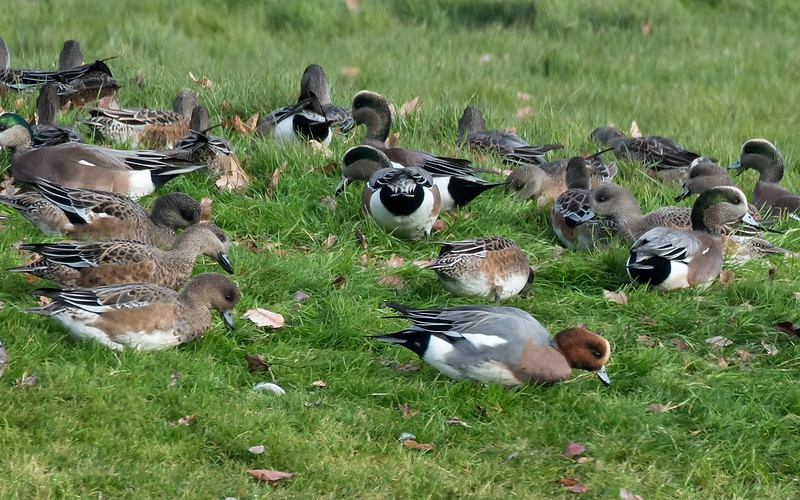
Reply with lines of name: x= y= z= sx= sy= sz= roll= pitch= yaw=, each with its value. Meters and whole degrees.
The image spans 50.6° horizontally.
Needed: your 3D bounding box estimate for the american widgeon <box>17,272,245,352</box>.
american widgeon: x=-2.273 y=0.536 z=7.452 sx=1.879 sy=0.808 sz=0.602 roll=6 pitch=-2 yaw=-17
